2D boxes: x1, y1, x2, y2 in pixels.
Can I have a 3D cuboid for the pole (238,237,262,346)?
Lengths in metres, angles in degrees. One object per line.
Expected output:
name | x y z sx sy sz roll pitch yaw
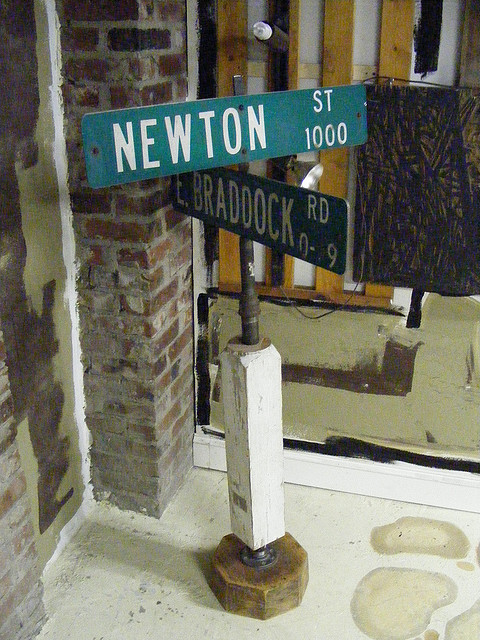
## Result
pole | 0.022 -0.078 1.499 0.053 0.315 0.116 3 17 11
